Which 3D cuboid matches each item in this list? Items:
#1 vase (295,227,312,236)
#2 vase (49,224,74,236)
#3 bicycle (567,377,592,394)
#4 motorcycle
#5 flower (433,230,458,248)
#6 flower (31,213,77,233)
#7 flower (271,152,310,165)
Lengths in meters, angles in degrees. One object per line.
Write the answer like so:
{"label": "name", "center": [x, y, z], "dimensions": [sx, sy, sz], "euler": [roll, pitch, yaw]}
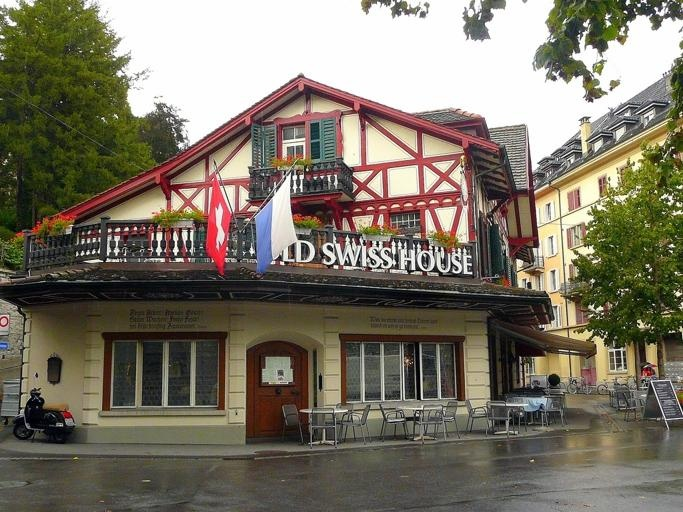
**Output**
{"label": "vase", "center": [-1.066, -0.676, 20.340], "dimensions": [0.319, 0.141, 0.219], "euler": [1, -12, 1]}
{"label": "vase", "center": [-7.768, -0.791, 20.149], "dimensions": [0.402, 0.317, 0.456], "euler": [2, 6, 6]}
{"label": "bicycle", "center": [15.193, 8.283, 46.383], "dimensions": [1.744, 1.081, 0.858], "euler": [-2, -9, 3]}
{"label": "motorcycle", "center": [-7.966, 4.275, 19.594], "dimensions": [1.813, 1.378, 0.790], "euler": [-4, -7, 32]}
{"label": "flower", "center": [3.109, -0.478, 22.012], "dimensions": [0.617, 0.349, 0.606], "euler": [7, -1, -37]}
{"label": "flower", "center": [-8.050, -0.837, 20.560], "dimensions": [0.806, 0.538, 0.939], "euler": [-3, 8, 1]}
{"label": "flower", "center": [-1.674, -3.083, 23.818], "dimensions": [1.281, 0.463, 0.701], "euler": [0, -6, -1]}
